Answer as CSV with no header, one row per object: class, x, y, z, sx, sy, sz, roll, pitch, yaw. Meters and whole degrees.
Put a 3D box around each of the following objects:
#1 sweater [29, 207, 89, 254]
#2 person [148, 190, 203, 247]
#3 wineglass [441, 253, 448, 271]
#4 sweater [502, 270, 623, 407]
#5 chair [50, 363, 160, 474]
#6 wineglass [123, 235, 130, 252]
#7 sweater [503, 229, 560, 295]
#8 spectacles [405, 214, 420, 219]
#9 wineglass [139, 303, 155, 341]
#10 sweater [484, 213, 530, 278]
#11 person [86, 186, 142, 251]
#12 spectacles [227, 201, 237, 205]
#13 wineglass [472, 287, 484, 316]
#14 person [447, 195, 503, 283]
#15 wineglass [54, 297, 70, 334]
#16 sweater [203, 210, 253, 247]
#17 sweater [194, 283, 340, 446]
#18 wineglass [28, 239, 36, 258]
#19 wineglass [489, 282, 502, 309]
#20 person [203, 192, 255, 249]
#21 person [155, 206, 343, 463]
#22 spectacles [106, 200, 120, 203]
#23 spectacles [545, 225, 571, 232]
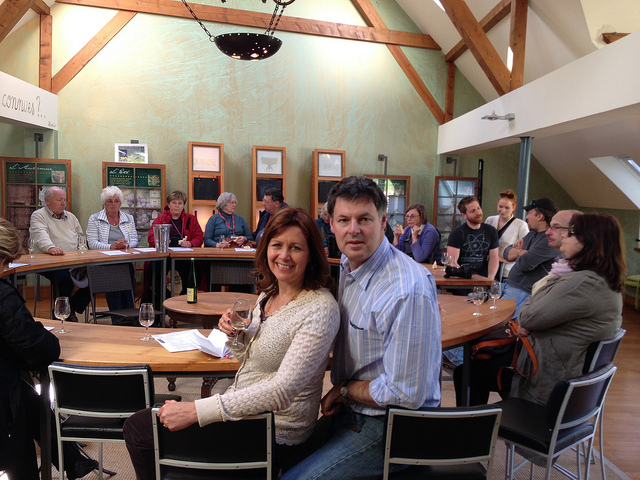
sweater,-3.306,-0.112,6.037,0.569,0.835,0.570,-13,-9,39
person,-1.990,-0.202,6.602,0.703,1.011,0.573,1,-5,-26
wineglass,1.423,0.241,5.521,0.067,0.201,0.354,1,3,15
sweater,1.572,0.609,3.065,0.648,0.856,0.208,0,3,6
chair,-1.220,0.983,2.636,0.665,0.662,0.313,2,4,25
wineglass,-2.451,0.018,6.099,0.075,0.157,0.297,-1,3,-22
sweater,2.113,0.166,4.769,0.371,0.670,0.548,9,14,3
spectacles,1.119,-0.298,5.920,0.076,0.039,0.187,-3,4,-44
wineglass,-1.154,0.527,3.203,0.087,0.215,0.314,-1,4,-22
sweater,2.172,0.063,5.614,0.631,0.844,0.415,8,13,30
person,-2.666,-0.247,6.198,0.594,0.908,0.548,0,-2,-34
spectacles,-1.226,-0.521,6.703,0.046,0.044,0.133,2,4,31
wineglass,1.200,0.455,3.661,0.075,0.200,0.222,1,3,20
person,1.715,0.007,5.404,0.553,0.983,0.652,3,4,25
wineglass,-1.752,0.499,3.268,0.084,0.226,0.225,-2,4,-30
sweater,-1.316,-0.128,7.004,0.728,0.646,0.430,1,-21,-25
sweater,-0.286,0.642,2.486,0.654,0.752,0.803,0,1,-3
wineglass,-3.110,0.085,5.201,0.071,0.199,0.292,-2,4,-33
wineglass,1.402,0.432,3.865,0.078,0.205,0.309,1,3,19
person,-1.287,-0.221,6.857,0.672,1.033,0.648,5,-10,-28
person,-0.438,0.504,3.211,1.124,2.088,1.099,5,-5,-15
spectacles,-2.573,-0.484,5.975,0.143,0.032,0.038,-1,3,-23
spectacles,1.789,-0.091,3.621,0.095,0.031,0.098,5,-2,-7
